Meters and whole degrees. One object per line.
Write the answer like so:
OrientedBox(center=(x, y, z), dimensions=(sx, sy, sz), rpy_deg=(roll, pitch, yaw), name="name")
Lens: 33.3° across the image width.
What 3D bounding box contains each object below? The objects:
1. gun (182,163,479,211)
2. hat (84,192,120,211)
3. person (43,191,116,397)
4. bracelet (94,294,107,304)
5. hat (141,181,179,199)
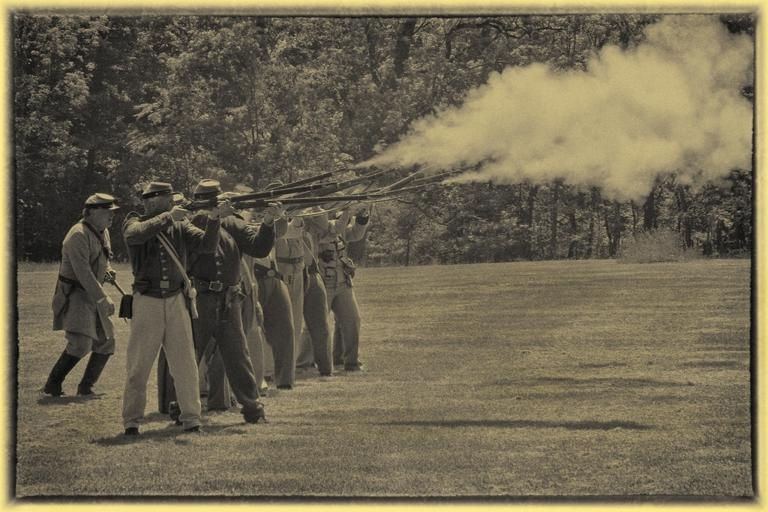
OrientedBox(center=(-0.674, -0.934, 17.359), dimensions=(4.621, 0.580, 0.222), rpy_deg=(-5, 16, -17), name="gun")
OrientedBox(center=(-3.693, -0.733, 16.972), dimensions=(0.427, 0.145, 0.286), rpy_deg=(-2, 3, -14), name="hat")
OrientedBox(center=(-3.914, 0.529, 17.022), dimensions=(0.802, 2.338, 0.888), rpy_deg=(1, 0, -22), name="person")
OrientedBox(center=(-3.655, 0.551, 16.764), dimensions=(0.143, 0.094, 0.058), rpy_deg=(1, 0, -7), name="bracelet")
OrientedBox(center=(-2.792, -0.836, 16.212), dimensions=(0.420, 0.143, 0.273), rpy_deg=(-5, 0, 0), name="hat")
